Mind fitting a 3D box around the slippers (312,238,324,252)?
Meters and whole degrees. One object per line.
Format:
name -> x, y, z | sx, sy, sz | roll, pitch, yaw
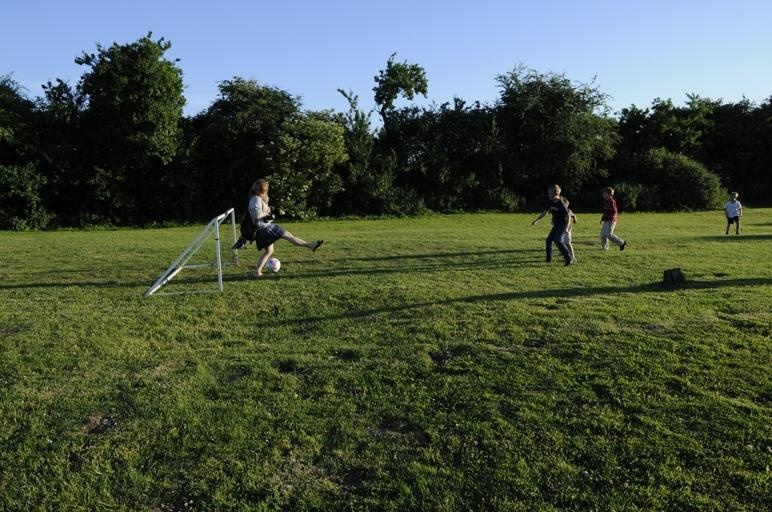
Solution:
slippers -> -1.988, -0.300, 16.887 | 0.264, 0.241, 0.690 | 13, 12, -3
